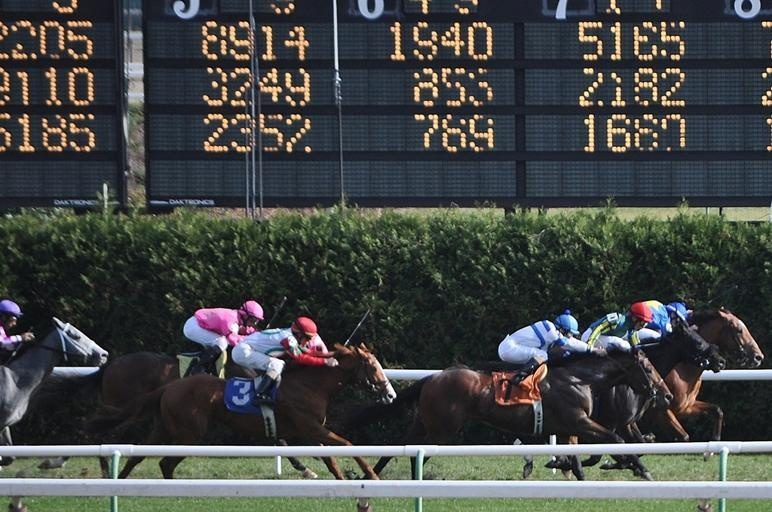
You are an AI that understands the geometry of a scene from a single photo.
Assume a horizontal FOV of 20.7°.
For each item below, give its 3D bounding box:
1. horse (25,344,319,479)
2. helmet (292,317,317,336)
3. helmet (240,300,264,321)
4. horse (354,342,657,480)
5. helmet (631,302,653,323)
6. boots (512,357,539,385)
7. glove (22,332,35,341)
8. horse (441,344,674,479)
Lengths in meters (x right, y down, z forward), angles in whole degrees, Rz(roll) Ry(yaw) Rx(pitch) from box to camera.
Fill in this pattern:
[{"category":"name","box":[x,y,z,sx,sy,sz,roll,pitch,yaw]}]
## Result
[{"category":"horse","box":[-2.463,1.786,24.695,3.595,2.155,0.638,10,-20,-20]},{"category":"helmet","box":[-0.915,0.835,23.515,0.227,0.179,0.173,40,37,4]},{"category":"helmet","box":[-1.546,0.656,24.523,0.259,0.144,0.178,28,8,-18]},{"category":"horse","box":[1.327,1.879,23.553,3.588,1.656,0.719,2,6,4]},{"category":"helmet","box":[2.883,0.669,23.844,0.242,0.143,0.184,7,32,-25]},{"category":"boots","box":[1.523,1.311,23.266,0.142,0.445,0.178,40,4,3]},{"category":"glove","box":[-4.029,0.953,23.876,0.166,0.103,0.082,-3,3,-41]},{"category":"horse","box":[1.819,1.808,23.420,2.510,1.386,0.656,-1,2,6]}]
